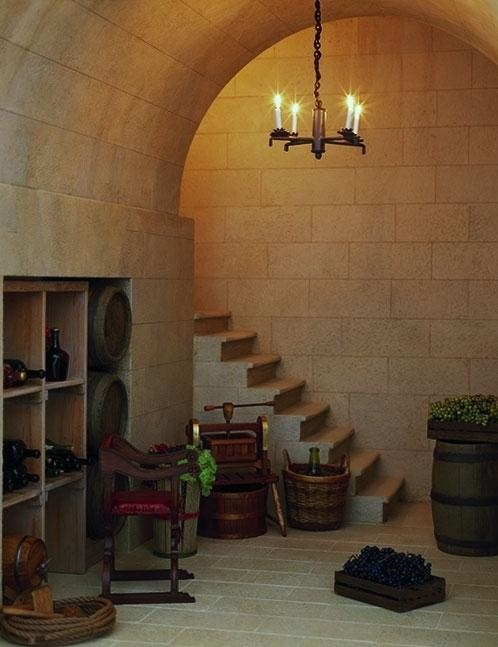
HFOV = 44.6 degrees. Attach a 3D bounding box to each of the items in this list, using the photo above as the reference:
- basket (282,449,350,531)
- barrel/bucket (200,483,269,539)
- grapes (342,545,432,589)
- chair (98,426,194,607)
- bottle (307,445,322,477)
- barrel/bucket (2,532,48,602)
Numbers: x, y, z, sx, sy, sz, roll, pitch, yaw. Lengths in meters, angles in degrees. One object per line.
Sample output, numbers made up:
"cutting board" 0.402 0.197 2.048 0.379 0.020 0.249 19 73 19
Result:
"basket" 0.397 1.177 4.410 0.543 0.554 0.622 0 -5 1
"barrel/bucket" -0.115 1.285 4.199 0.517 0.277 0.487 -1 -9 0
"grapes" 0.636 1.119 2.861 0.276 0.082 0.190 0 1 25
"chair" -0.485 1.002 3.109 0.571 0.649 0.599 3 -14 -15
"bottle" 0.446 0.943 4.181 0.079 0.181 0.141 0 -7 5
"barrel/bucket" -0.978 1.066 2.635 0.184 0.282 0.163 3 -7 -21
